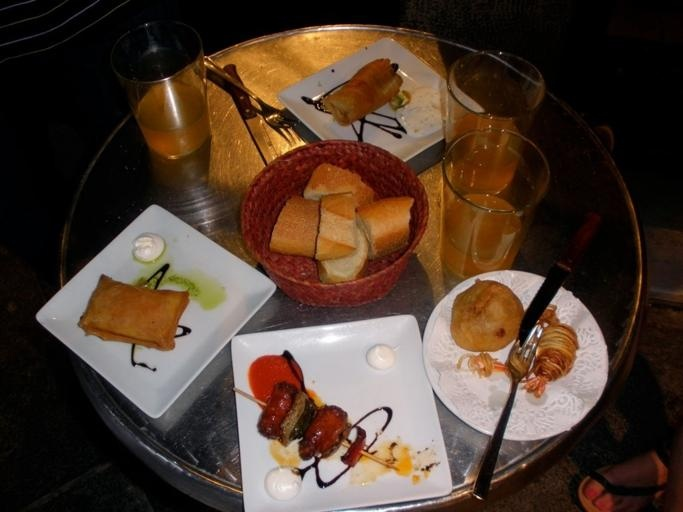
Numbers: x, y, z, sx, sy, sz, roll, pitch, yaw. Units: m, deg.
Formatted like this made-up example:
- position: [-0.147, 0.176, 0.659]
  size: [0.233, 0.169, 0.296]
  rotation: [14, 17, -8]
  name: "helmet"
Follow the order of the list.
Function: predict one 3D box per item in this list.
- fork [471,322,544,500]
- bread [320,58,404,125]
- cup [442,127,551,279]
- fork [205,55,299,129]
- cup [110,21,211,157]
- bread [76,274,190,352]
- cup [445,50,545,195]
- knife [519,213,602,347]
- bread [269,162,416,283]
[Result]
- position: [0.415, 0.233, 1.267]
  size: [0.079, 0.051, 0.614]
  rotation: [27, 61, -4]
  name: "fork"
- position: [0.062, -0.458, 1.625]
  size: [0.141, 0.090, 0.248]
  rotation: [46, 63, -9]
  name: "bread"
- position: [0.367, -0.120, 1.337]
  size: [0.215, 0.352, 0.229]
  rotation: [-1, 57, 1]
  name: "cup"
- position: [-0.270, -0.479, 1.650]
  size: [0.054, 0.038, 0.319]
  rotation: [-36, 63, -20]
  name: "fork"
- position: [-0.438, -0.454, 1.596]
  size: [0.286, 0.356, 0.344]
  rotation: [-2, 58, -7]
  name: "cup"
- position: [-0.497, 0.133, 1.310]
  size: [0.188, 0.059, 0.157]
  rotation: [19, 68, 1]
  name: "bread"
- position: [0.387, -0.399, 1.561]
  size: [0.267, 0.312, 0.281]
  rotation: [-1, 58, 1]
  name: "cup"
- position: [0.517, 0.068, 1.299]
  size: [0.043, 0.038, 0.322]
  rotation: [29, 96, 40]
  name: "knife"
- position: [0.000, -0.088, 1.291]
  size: [0.264, 0.102, 0.284]
  rotation: [0, 65, -4]
  name: "bread"
